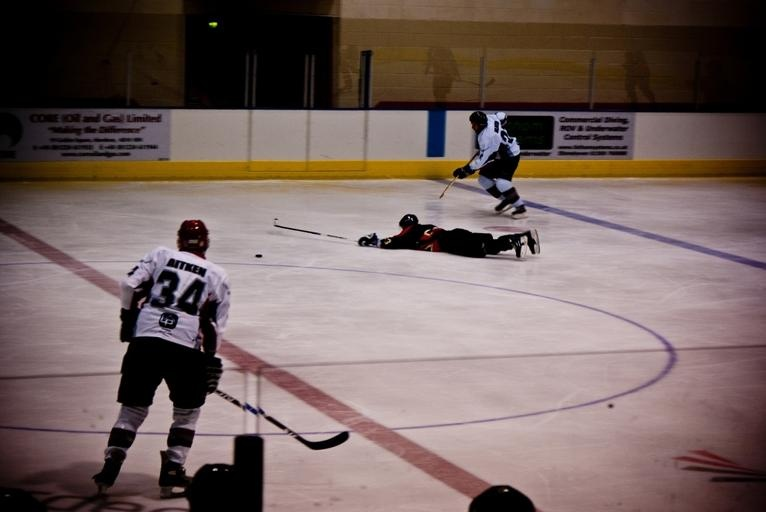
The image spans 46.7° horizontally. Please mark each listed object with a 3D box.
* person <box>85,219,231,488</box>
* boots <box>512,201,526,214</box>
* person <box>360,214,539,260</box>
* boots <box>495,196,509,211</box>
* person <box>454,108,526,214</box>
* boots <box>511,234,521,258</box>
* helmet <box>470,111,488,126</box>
[{"bbox_3d":[-1.396,0.717,5.663,0.725,1.510,0.489,4,6,-8],"label":"person"},{"bbox_3d":[2.129,-0.732,13.839,0.213,0.215,0.201,4,5,-1],"label":"boots"},{"bbox_3d":[0.829,-0.193,11.251,1.753,0.305,0.853,3,2,23],"label":"person"},{"bbox_3d":[1.903,-0.841,14.218,0.334,0.271,0.751,0,3,10],"label":"boots"},{"bbox_3d":[1.804,-1.454,13.996,1.022,1.633,0.892,7,6,30],"label":"person"},{"bbox_3d":[1.663,-0.121,11.032,0.163,0.247,0.098,3,6,-13],"label":"boots"},{"bbox_3d":[1.497,-2.124,13.797,0.266,0.225,0.201,4,5,3],"label":"helmet"}]
